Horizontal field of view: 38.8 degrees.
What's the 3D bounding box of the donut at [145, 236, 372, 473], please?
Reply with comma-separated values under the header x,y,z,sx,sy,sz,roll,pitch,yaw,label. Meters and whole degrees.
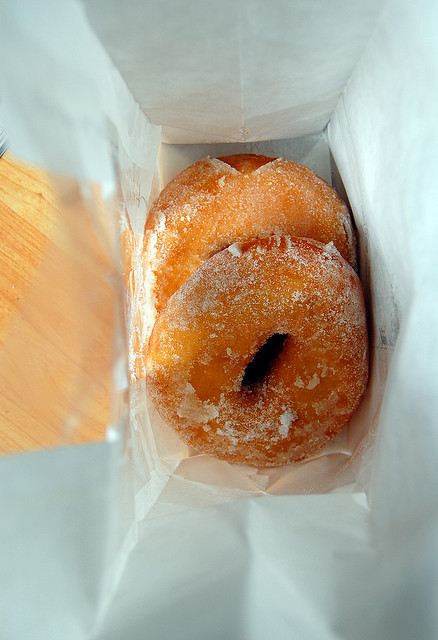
x,y,z,sx,sy,sz,roll,pitch,yaw,label
0.038,0.016,0.571,0.222,0.188,0.069,-14,13,-2,donut
